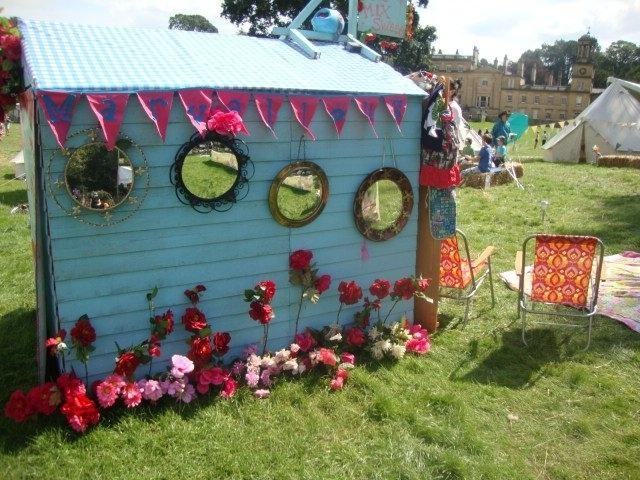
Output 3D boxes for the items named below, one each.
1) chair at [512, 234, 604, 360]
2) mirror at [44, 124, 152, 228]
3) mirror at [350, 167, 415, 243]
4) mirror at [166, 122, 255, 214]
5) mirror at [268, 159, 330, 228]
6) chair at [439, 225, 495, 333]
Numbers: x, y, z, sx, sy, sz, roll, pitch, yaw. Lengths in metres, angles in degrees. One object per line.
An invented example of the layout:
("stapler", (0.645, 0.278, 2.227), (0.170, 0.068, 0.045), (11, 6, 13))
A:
("chair", (2.599, 0.561, 5.339), (0.841, 1.253, 0.914), (5, 2, 26))
("mirror", (-1.989, -0.594, 4.288), (0.857, 0.843, 0.057), (-10, 19, -30))
("mirror", (0.686, -0.396, 5.586), (0.791, 0.802, 0.139), (-6, 18, -39))
("mirror", (-1.084, -0.718, 4.669), (0.854, 0.828, 0.068), (-7, 14, -32))
("mirror", (-0.251, -0.514, 5.105), (0.687, 0.665, 0.049), (-9, 18, -34))
("chair", (1.845, 0.369, 6.465), (0.824, 1.229, 0.775), (-19, 16, -37))
